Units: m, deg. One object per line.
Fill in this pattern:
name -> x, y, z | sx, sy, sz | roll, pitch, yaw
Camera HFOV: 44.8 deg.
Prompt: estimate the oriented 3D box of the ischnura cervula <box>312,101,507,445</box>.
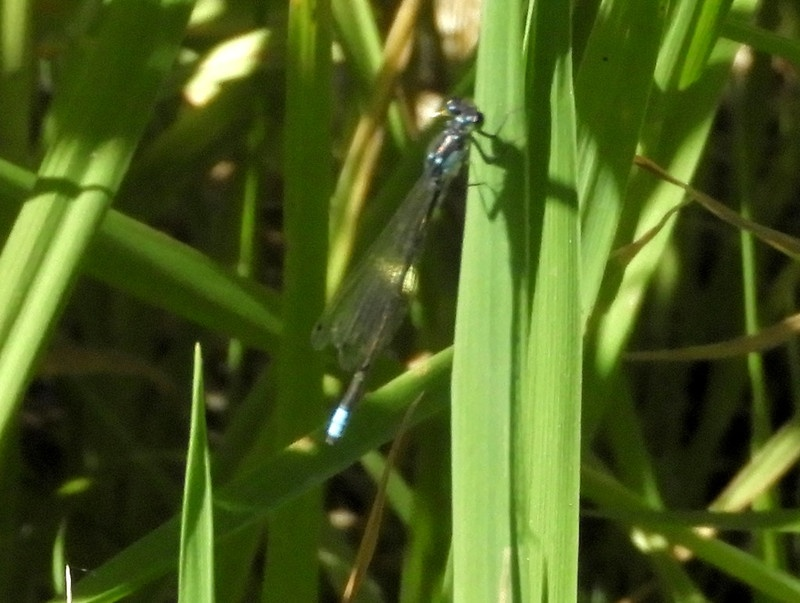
ischnura cervula -> 0.007, -0.043, 1.432 | 0.256, 0.527, 0.323 | -5, -19, 4
